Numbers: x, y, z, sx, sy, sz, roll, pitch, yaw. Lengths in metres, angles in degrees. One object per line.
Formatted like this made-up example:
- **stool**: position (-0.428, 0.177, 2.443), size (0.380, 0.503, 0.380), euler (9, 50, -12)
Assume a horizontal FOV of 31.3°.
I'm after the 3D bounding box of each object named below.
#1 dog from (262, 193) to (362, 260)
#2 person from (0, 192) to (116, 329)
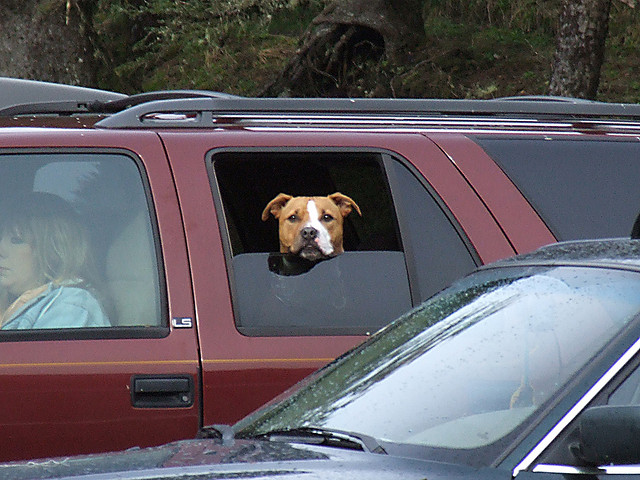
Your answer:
- **dog**: position (-0.077, -0.032, 6.699), size (0.572, 0.386, 0.655), euler (4, 18, 3)
- **person**: position (-1.431, 0.167, 6.205), size (0.594, 0.886, 0.910), euler (4, -10, -34)
